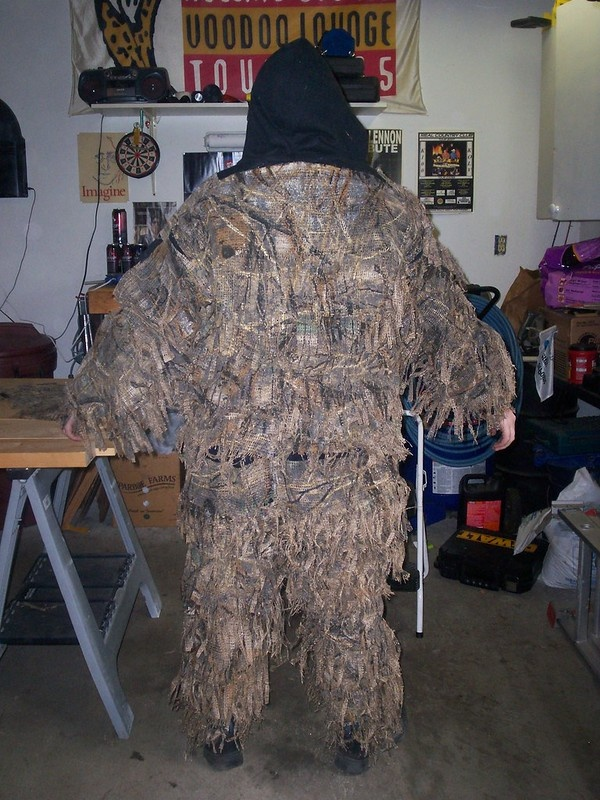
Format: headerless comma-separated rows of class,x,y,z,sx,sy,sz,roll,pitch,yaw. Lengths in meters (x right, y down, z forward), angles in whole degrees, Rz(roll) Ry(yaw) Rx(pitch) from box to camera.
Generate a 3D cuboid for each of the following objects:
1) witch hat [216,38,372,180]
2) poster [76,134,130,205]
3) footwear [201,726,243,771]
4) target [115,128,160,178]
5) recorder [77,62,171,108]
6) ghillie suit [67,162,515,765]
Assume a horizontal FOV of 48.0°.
witch hat,-0.009,-0.586,1.340,0.296,0.286,0.197,0,14,6
poster,-1.164,-1.375,3.960,0.428,0.543,0.023,1,24,-3
footwear,-0.209,0.941,1.852,0.108,0.131,0.057,-4,5,-3
target,-0.943,-1.430,3.926,0.241,0.259,0.065,-3,9,-4
recorder,-0.926,-1.646,3.536,0.369,0.149,0.133,2,-5,-1
ghillie suit,-0.031,0.171,1.530,1.087,1.297,0.356,2,7,-8
